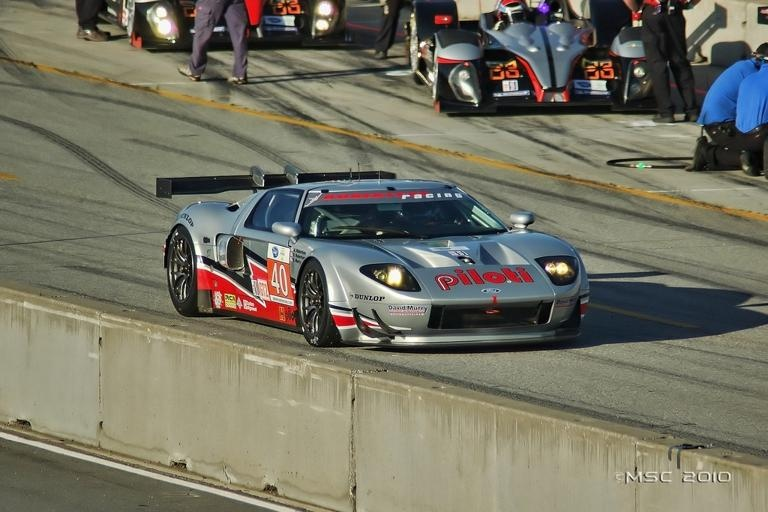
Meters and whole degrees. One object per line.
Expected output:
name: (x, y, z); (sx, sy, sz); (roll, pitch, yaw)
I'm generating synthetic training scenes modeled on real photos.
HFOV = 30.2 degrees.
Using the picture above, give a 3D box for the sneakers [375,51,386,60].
sneakers: (-0.063, -4.181, 29.420); (0.117, 0.103, 0.266); (18, -6, -9)

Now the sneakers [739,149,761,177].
sneakers: (5.465, -1.394, 21.405); (0.298, 0.350, 0.192); (-10, 2, -21)

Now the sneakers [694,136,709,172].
sneakers: (4.850, -1.579, 21.786); (0.223, 0.498, 0.247); (12, -9, 15)

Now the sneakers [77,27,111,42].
sneakers: (-5.686, -4.411, 28.185); (0.657, 0.203, 0.247); (0, 17, 6)

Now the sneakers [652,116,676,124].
sneakers: (4.823, -2.372, 24.641); (0.375, 0.115, 0.130); (7, 9, 8)

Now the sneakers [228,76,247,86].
sneakers: (-2.645, -3.212, 25.834); (0.355, 0.108, 0.127); (0, -8, 1)

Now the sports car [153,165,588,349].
sports car: (-0.134, 0.048, 15.107); (4.051, 1.524, 1.903); (9, 16, 34)
